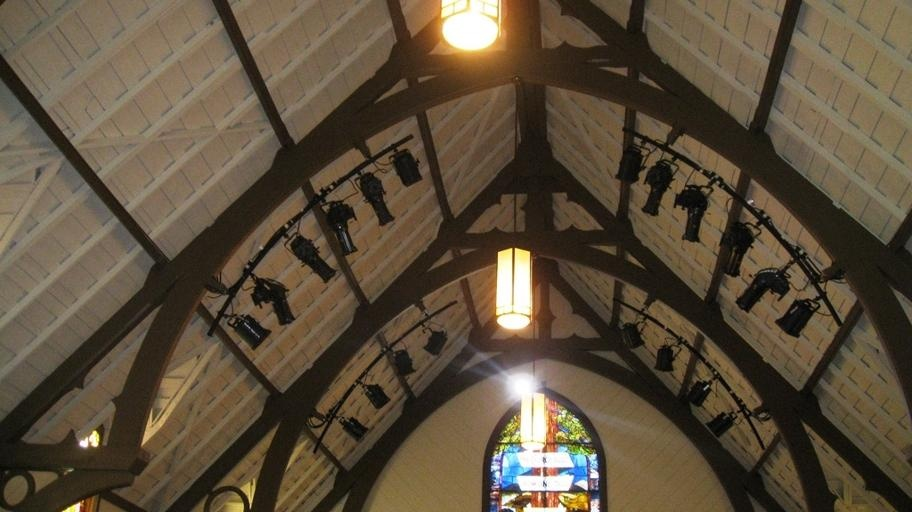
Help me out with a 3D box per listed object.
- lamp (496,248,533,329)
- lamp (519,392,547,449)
[{"bbox_3d":[0.870,0.467,13.339,0.501,1.071,0.704,2,-44,1],"label":"lamp"},{"bbox_3d":[1.553,3.272,17.987,0.475,1.176,0.451,4,-44,-1],"label":"lamp"}]
